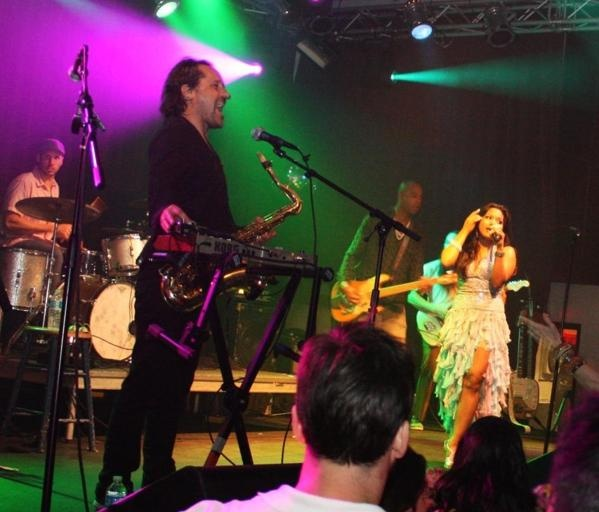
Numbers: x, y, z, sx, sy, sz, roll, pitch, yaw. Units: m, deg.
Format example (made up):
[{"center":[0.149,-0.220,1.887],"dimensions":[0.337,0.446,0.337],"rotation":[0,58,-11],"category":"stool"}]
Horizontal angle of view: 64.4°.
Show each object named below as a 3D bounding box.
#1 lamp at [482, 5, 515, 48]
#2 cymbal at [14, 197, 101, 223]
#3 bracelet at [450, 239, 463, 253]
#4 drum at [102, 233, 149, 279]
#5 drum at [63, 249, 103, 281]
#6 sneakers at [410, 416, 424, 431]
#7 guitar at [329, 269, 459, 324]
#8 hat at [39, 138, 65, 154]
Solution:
[{"center":[2.647,-3.056,6.359],"dimensions":[0.307,0.528,0.132],"rotation":[-8,18,14],"category":"lamp"},{"center":[-2.759,-0.515,5.162],"dimensions":[0.549,0.299,0.714],"rotation":[9,-1,-32],"category":"cymbal"},{"center":[1.314,-0.088,4.001],"dimensions":[0.090,0.028,0.092],"rotation":[45,-3,20],"category":"bracelet"},{"center":[-1.823,0.003,4.932],"dimensions":[0.388,0.343,0.400],"rotation":[-3,-16,-14],"category":"drum"},{"center":[-1.720,0.074,3.819],"dimensions":[0.279,0.331,0.281],"rotation":[4,3,-34],"category":"drum"},{"center":[1.603,2.297,6.543],"dimensions":[0.157,0.227,0.503],"rotation":[6,-5,14],"category":"sneakers"},{"center":[1.142,0.510,6.069],"dimensions":[1.633,0.759,0.209],"rotation":[-10,2,16],"category":"guitar"},{"center":[-3.030,-1.376,5.868],"dimensions":[0.167,0.144,0.245],"rotation":[5,-17,1],"category":"hat"}]
